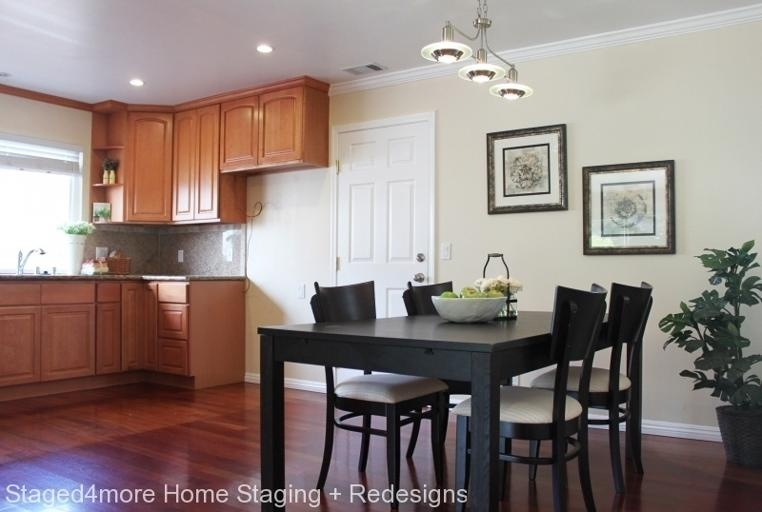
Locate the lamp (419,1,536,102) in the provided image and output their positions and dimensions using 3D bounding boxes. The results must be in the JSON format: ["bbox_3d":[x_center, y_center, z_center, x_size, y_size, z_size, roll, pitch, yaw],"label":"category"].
[{"bbox_3d":[0.786,-1.605,4.255,0.749,0.677,0.254,23,-27,-36],"label":"lamp"}]

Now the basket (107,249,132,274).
[{"bbox_3d":[-2.991,0.075,6.269,0.231,0.265,0.286,-1,3,-23],"label":"basket"}]

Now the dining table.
[{"bbox_3d":[0.111,0.877,3.012,1.554,1.018,0.860,1,2,17],"label":"dining table"}]

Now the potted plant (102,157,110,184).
[{"bbox_3d":[-3.178,-0.964,6.345,0.144,0.291,0.060,2,3,39],"label":"potted plant"}]

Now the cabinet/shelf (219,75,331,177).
[{"bbox_3d":[-1.168,-1.364,5.970,1.353,0.847,0.457,3,4,38],"label":"cabinet/shelf"}]

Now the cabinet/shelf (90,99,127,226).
[{"bbox_3d":[-3.156,-0.883,6.375,0.411,1.648,0.278,3,4,21],"label":"cabinet/shelf"}]

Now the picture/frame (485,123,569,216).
[{"bbox_3d":[1.311,-0.753,4.844,0.857,0.877,0.075,-1,1,27],"label":"picture/frame"}]

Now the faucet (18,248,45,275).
[{"bbox_3d":[-3.745,0.054,5.906,0.264,0.264,0.395,-1,3,-32],"label":"faucet"}]

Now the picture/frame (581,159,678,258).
[{"bbox_3d":[2.063,-0.384,4.513,0.850,0.909,0.039,0,1,28],"label":"picture/frame"}]
